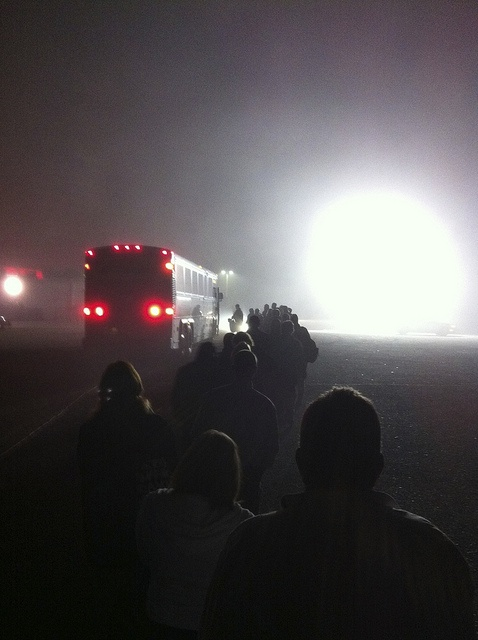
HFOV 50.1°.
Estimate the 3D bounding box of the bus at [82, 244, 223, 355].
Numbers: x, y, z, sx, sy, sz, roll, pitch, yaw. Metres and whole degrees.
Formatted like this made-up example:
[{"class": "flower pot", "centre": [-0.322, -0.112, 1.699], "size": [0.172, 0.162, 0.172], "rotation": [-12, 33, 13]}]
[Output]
[{"class": "bus", "centre": [-2.357, -0.449, 14.954], "size": [2.211, 3.199, 7.160], "rotation": [2, -3, 8]}]
